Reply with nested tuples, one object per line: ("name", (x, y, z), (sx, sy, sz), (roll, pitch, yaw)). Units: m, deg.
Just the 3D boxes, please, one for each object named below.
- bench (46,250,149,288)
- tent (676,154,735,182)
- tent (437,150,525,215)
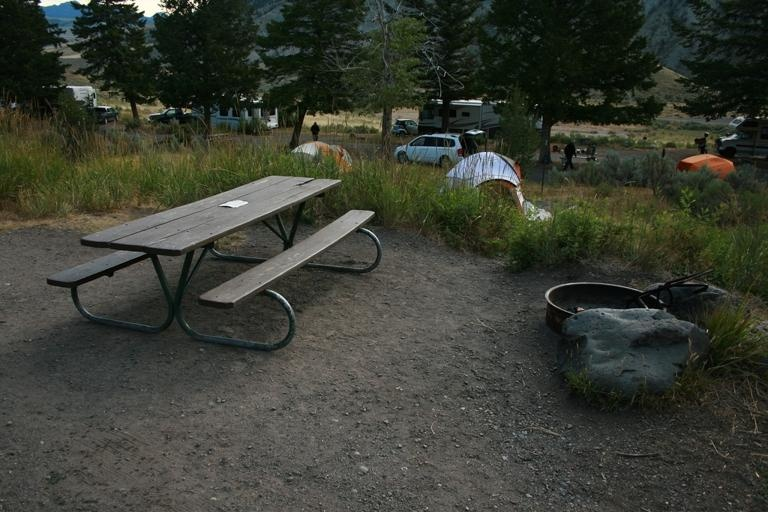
("bench", (-2.864, 0.106, 5.555), (0.539, 0.188, 0.920), (17, 24, 37))
("tent", (9.648, -2.707, 16.556), (1.237, 0.412, 1.302), (1, 27, 19))
("tent", (1.907, -1.680, 10.599), (1.427, 0.576, 1.514), (-3, 16, 4))
